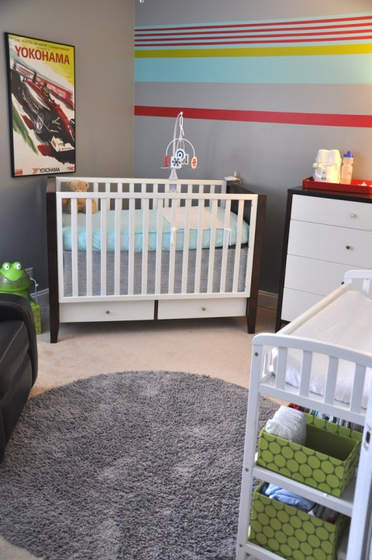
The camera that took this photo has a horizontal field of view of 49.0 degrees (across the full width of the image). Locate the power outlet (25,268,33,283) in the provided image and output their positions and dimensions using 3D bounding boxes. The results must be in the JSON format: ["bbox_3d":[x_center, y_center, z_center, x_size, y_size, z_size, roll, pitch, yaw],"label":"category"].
[{"bbox_3d":[-1.170,-0.043,3.031,0.044,0.097,0.113,-2,14,-16],"label":"power outlet"}]

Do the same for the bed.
[{"bbox_3d":[-0.251,0.011,3.062,1.717,1.361,1.018,-2,20,-11],"label":"bed"}]

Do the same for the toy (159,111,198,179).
[{"bbox_3d":[-0.067,-0.930,2.823,0.200,0.414,0.219,10,19,32],"label":"toy"}]

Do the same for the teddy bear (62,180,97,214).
[{"bbox_3d":[-0.687,-0.528,2.620,0.239,0.270,0.182,-6,23,-17],"label":"teddy bear"}]

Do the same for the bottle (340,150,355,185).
[{"bbox_3d":[1.044,-0.733,2.660,0.075,0.204,0.175,7,14,19],"label":"bottle"}]

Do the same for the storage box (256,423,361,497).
[{"bbox_3d":[0.300,0.402,0.991,0.207,0.116,0.184,12,17,36],"label":"storage box"}]
